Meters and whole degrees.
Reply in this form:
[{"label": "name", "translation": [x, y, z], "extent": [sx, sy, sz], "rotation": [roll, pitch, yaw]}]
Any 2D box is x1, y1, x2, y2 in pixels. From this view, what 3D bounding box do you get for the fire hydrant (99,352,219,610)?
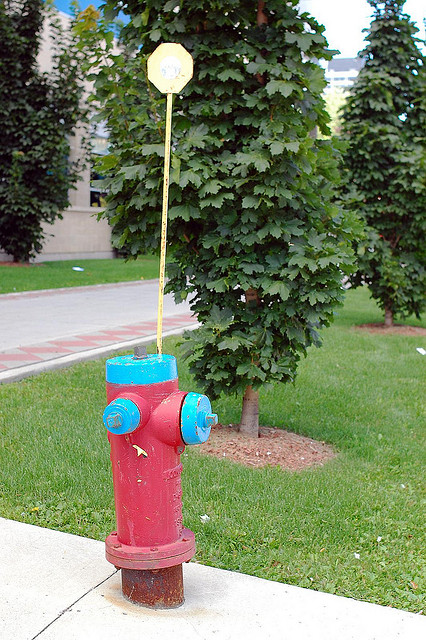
[{"label": "fire hydrant", "translation": [-0.283, 0.743, 3.512], "extent": [0.525, 1.179, 0.481], "rotation": [4, 10, -7]}]
